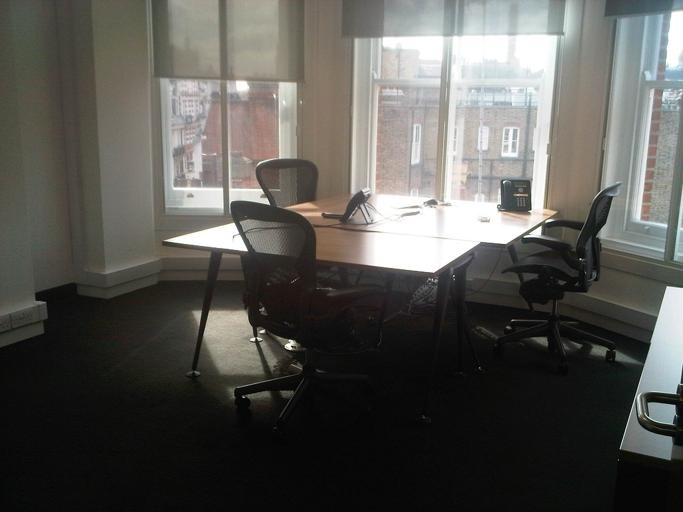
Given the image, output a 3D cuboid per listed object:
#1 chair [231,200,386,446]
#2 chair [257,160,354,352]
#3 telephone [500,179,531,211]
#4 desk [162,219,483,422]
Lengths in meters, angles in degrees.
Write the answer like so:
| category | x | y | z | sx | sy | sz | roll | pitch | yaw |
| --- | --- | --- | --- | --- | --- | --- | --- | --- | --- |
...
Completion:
| category | x | y | z | sx | sy | sz | roll | pitch | yaw |
| --- | --- | --- | --- | --- | --- | --- | --- | --- | --- |
| chair | -0.172 | 0.287 | 3.145 | 0.797 | 1.190 | 0.814 | 6 | 9 | 27 |
| chair | -0.447 | -0.329 | 5.262 | 0.715 | 0.744 | 1.201 | -5 | 30 | -14 |
| telephone | 1.400 | -0.490 | 4.390 | 0.238 | 0.237 | 0.133 | 0 | -1 | -1 |
| desk | -0.223 | 0.234 | 3.726 | 1.572 | 0.822 | 1.666 | 4 | 11 | 1 |
